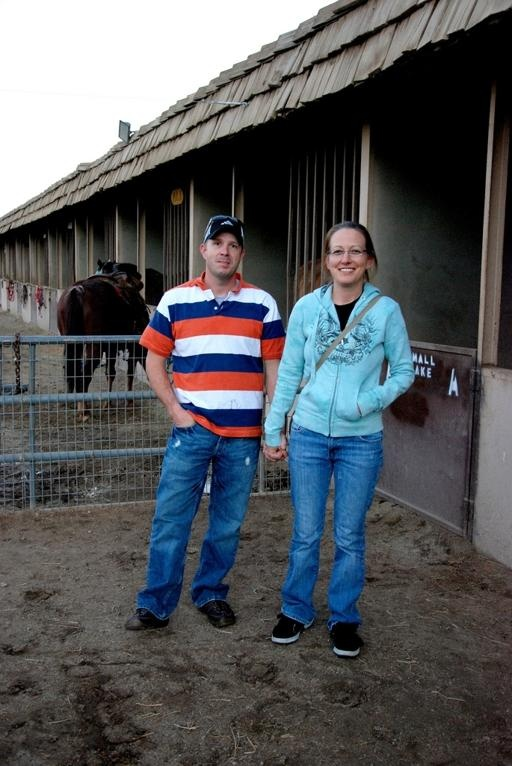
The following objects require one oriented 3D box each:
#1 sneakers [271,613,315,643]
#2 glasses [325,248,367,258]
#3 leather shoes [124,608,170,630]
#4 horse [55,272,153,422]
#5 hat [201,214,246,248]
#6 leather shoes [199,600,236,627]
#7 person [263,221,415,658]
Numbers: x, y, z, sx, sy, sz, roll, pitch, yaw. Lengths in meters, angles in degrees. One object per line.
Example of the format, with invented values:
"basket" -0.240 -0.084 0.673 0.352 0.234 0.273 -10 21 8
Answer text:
"sneakers" 0.135 0.990 2.632 0.069 0.095 0.202 -6 -17 22
"glasses" 0.326 -0.472 2.378 0.130 0.030 0.056 0 5 8
"leather shoes" -0.458 0.988 2.748 0.203 0.100 0.071 5 2 -5
"horse" -1.703 -0.583 7.625 0.607 1.564 2.135 7 12 9
"hat" -0.135 -0.624 2.677 0.150 0.132 0.229 -1 4 -4
"leather shoes" -0.148 0.977 2.770 0.069 0.064 0.151 0 -7 -31
"person" 0.315 0.218 2.509 0.497 1.625 0.272 3 5 33
